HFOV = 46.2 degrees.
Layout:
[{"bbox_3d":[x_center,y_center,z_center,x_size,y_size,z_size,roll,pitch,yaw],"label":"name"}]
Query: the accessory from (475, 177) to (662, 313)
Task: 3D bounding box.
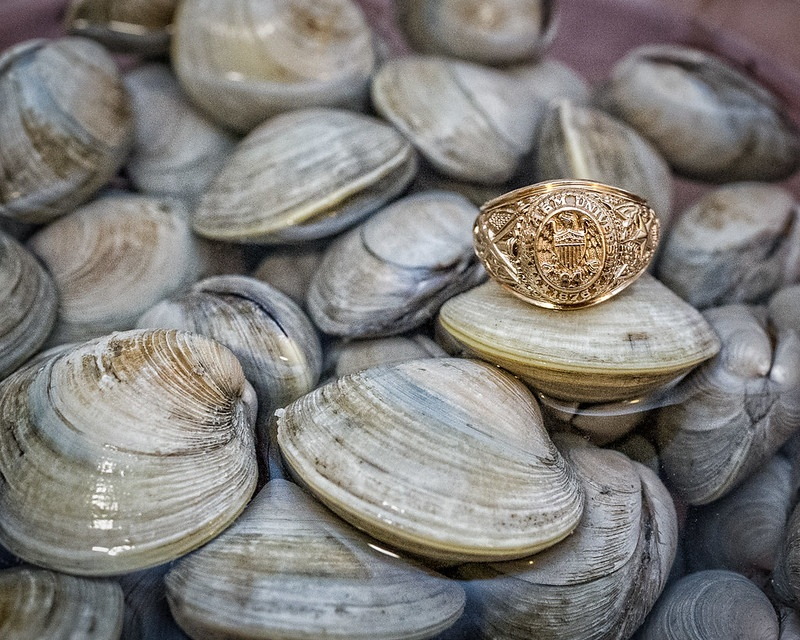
[{"bbox_3d":[0.172,-0.090,1.026,0.135,0.095,0.166,-9,9,-17],"label":"accessory"}]
